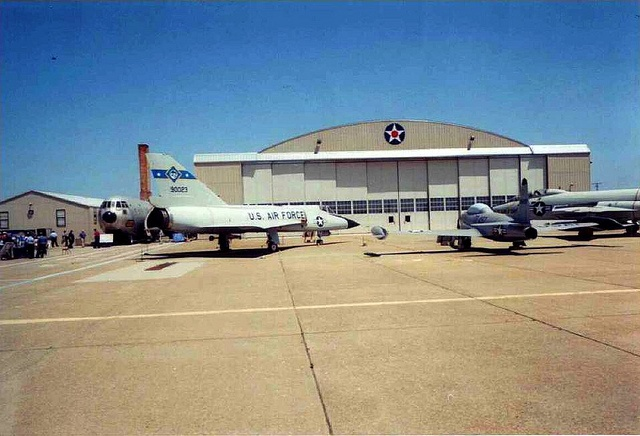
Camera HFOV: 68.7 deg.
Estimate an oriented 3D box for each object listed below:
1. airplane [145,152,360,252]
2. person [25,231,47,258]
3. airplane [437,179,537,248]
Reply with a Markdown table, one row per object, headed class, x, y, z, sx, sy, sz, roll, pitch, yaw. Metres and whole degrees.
| class | x | y | z | sx | sy | sz | roll | pitch | yaw |
| --- | --- | --- | --- | --- | --- | --- | --- | --- | --- |
| airplane | -3.056 | -0.845 | 26.448 | 2.566 | 4.569 | 12.851 | -3 | 2 | 43 |
| person | -17.070 | 1.682 | 28.350 | 1.379 | 1.064 | 2.092 | 0 | 0 | -17 |
| airplane | 7.623 | -0.017 | 21.813 | 3.619 | 3.259 | 5.242 | -4 | 2 | 6 |
